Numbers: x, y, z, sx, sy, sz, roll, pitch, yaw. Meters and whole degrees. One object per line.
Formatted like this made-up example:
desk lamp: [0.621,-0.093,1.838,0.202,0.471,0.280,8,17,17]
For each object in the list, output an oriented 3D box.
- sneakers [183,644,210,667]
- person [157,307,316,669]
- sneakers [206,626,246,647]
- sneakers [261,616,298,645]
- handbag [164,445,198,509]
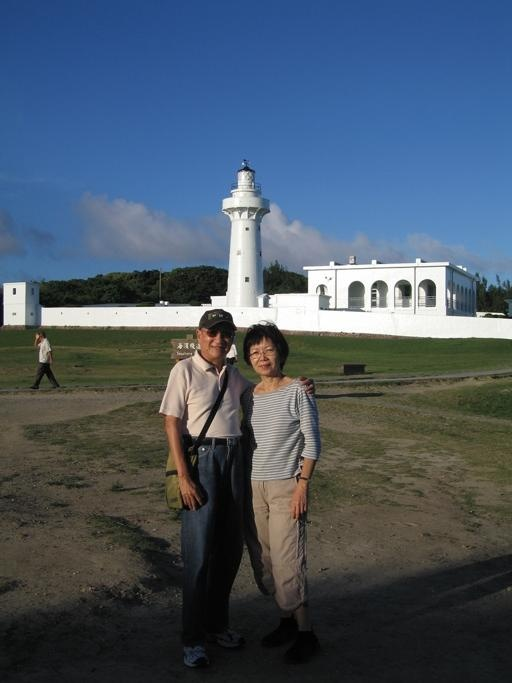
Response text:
sneakers: [-0.349,1.857,4.144,0.136,0.086,0.143,0,2,-11]
person: [-0.320,0.865,4.459,0.508,2.143,0.804,1,1,21]
sneakers: [-0.178,1.872,4.467,0.093,0.097,0.234,2,-9,-45]
sneakers: [0.166,1.829,4.522,0.284,0.185,0.111,0,-1,-31]
handbag: [-0.432,0.844,4.385,0.109,0.379,0.229,4,-10,-41]
